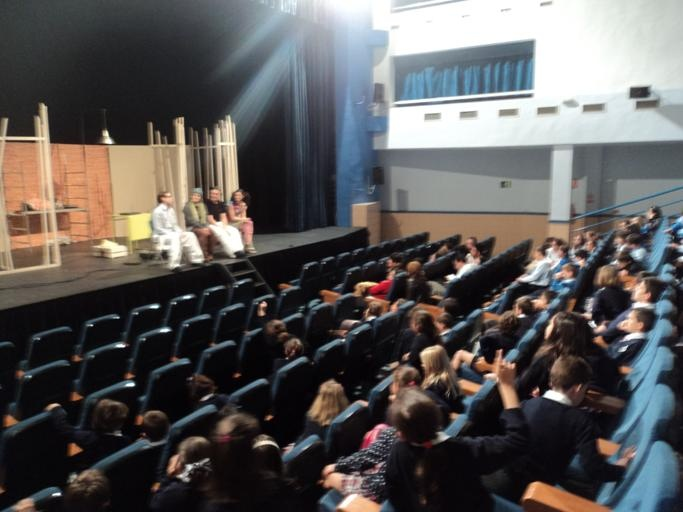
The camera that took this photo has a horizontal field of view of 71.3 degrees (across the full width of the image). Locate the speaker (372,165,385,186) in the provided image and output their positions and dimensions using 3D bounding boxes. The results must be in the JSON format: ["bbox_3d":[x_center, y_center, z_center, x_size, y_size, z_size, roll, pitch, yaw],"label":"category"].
[{"bbox_3d":[1.097,-2.391,14.239,0.392,0.487,0.127,-8,7,-34],"label":"speaker"}]
